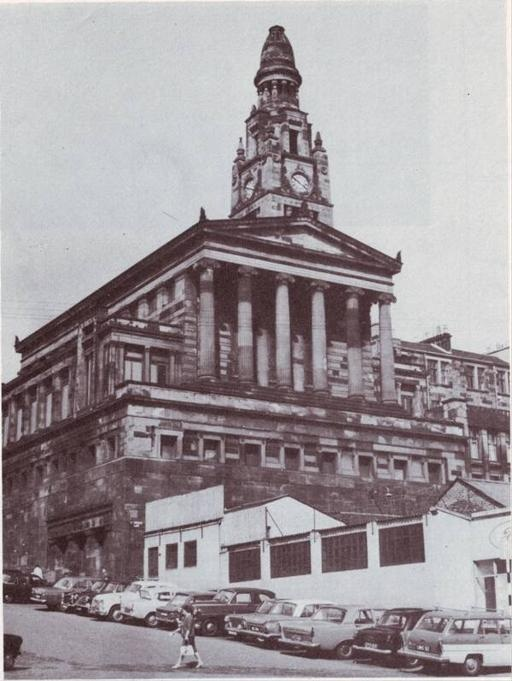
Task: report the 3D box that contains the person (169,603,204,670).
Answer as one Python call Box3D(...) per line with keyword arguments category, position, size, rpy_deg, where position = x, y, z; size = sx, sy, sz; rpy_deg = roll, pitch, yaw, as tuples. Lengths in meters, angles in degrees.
Box3D(category="person", position=(-1.712, 7.446, 23.607), size=(0.664, 0.525, 1.533), rpy_deg=(16, -50, 2))
